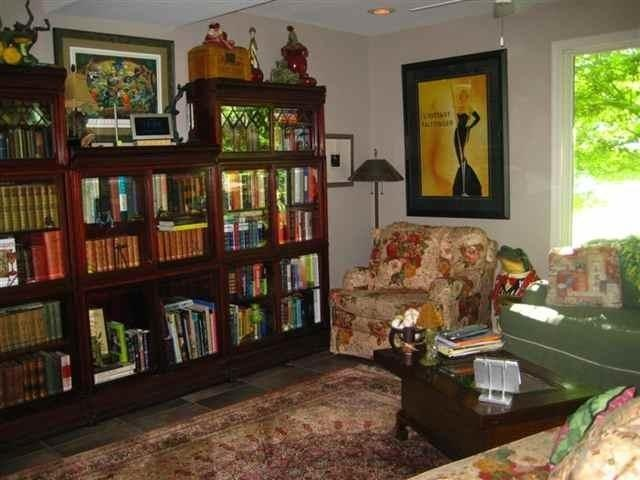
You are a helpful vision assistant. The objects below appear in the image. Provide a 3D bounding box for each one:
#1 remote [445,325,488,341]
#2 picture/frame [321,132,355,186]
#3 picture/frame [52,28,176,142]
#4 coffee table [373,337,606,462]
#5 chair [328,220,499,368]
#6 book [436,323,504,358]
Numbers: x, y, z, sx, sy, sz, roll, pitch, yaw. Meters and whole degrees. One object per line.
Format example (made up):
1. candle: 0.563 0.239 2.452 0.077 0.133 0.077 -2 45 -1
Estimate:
1. remote: 1.001 0.639 3.574 0.227 0.032 0.121 -7 7 -21
2. picture/frame: 0.216 -0.932 6.074 0.032 0.598 0.633 3 10 34
3. picture/frame: -1.745 -1.298 4.345 1.204 0.989 0.082 -5 3 -44
4. coffee table: 0.978 1.001 3.214 0.807 0.396 0.788 -5 7 -30
5. chair: 0.924 0.484 5.242 1.371 1.161 1.358 -8 8 -29
6. book: 1.026 0.689 3.539 0.309 0.097 0.232 -6 8 -26
